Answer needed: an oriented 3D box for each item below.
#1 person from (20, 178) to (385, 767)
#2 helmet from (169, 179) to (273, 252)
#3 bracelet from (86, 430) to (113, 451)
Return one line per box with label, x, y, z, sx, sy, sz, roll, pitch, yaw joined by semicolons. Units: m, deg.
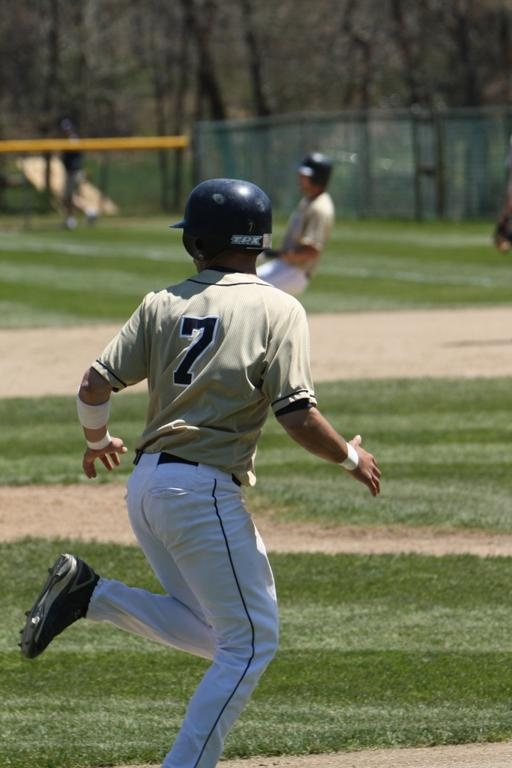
person;-0.203;0.246;5.262;1.009;1.750;0.653;1;7;21
helmet;-0.116;-0.532;5.433;0.358;0.240;0.266;7;10;35
bracelet;-0.514;0.186;5.559;0.070;0.067;0.053;1;-35;33
